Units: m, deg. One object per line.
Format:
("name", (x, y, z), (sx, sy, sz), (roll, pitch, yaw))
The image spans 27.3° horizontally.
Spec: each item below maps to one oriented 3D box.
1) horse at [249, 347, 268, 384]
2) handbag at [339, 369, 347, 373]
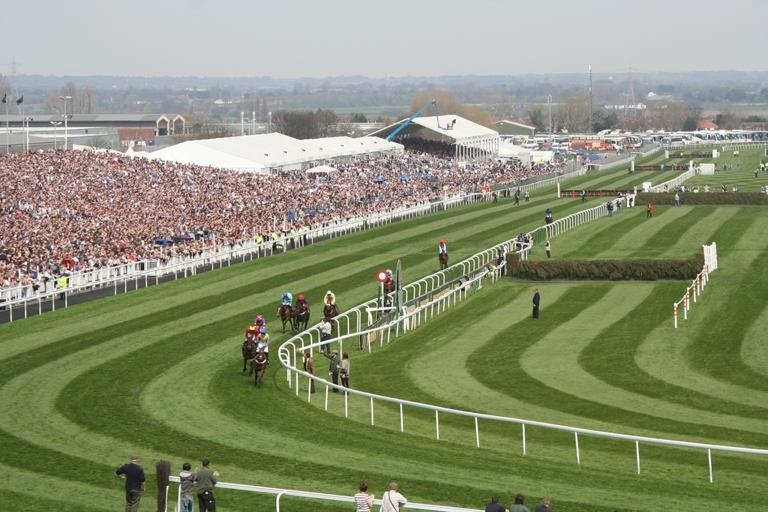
("horse", (-5.508, 4.761, 69.625), (0.694, 1.725, 1.350), (-2, 17, -6))
("handbag", (-1.762, 4.971, 68.657), (0.242, 0.181, 0.247), (-1, 28, -35))
